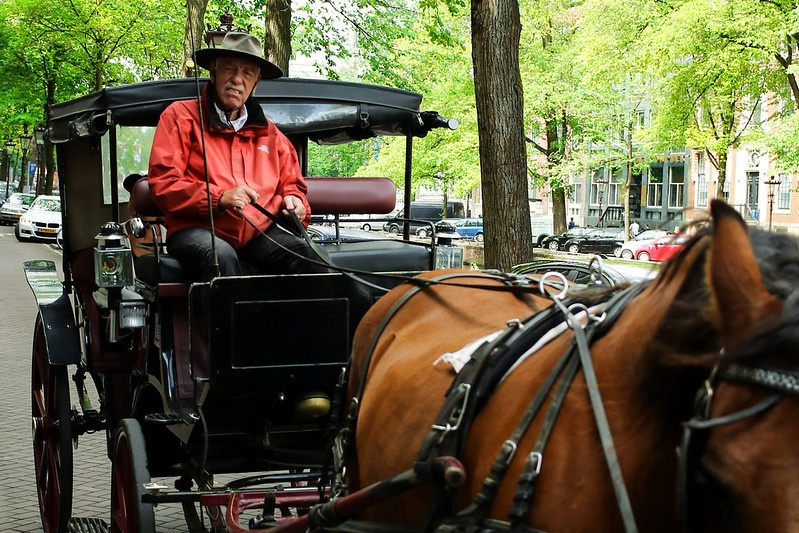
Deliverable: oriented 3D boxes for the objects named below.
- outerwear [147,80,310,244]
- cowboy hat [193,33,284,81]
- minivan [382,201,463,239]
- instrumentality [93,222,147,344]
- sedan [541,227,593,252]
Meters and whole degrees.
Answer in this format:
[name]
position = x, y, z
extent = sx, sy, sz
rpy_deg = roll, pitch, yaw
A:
[outerwear]
position = -1.027, -0.663, 5.168
extent = 1.044, 0.984, 0.669
rpy_deg = 3, 6, -28
[cowboy hat]
position = -1.052, -1.327, 5.150
extent = 0.329, 0.127, 0.314
rpy_deg = 2, -15, 28
[minivan]
position = 1.609, -3.336, 55.623
extent = 5.873, 3.072, 3.221
rpy_deg = 3, -1, -2
[instrumentality]
position = -1.699, 0.086, 4.847
extent = 0.354, 0.719, 0.212
rpy_deg = 4, 13, 42
[sedan]
position = 7.448, -1.238, 36.698
extent = 2.232, 0.769, 1.037
rpy_deg = 1, -1, 8
